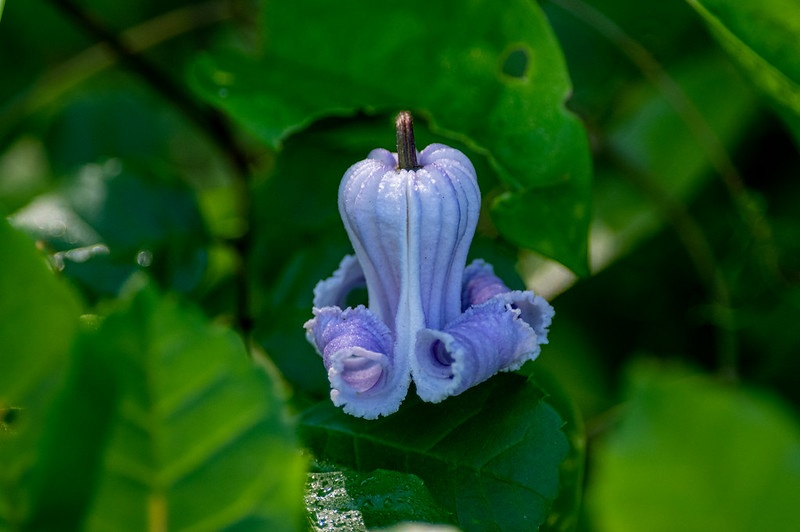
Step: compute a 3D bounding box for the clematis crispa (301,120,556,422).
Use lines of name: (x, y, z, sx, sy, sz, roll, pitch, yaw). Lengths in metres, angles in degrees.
clematis crispa: (0.022, -0.008, 1.299, 0.334, 0.391, 0.373, -3, 13, 5)
